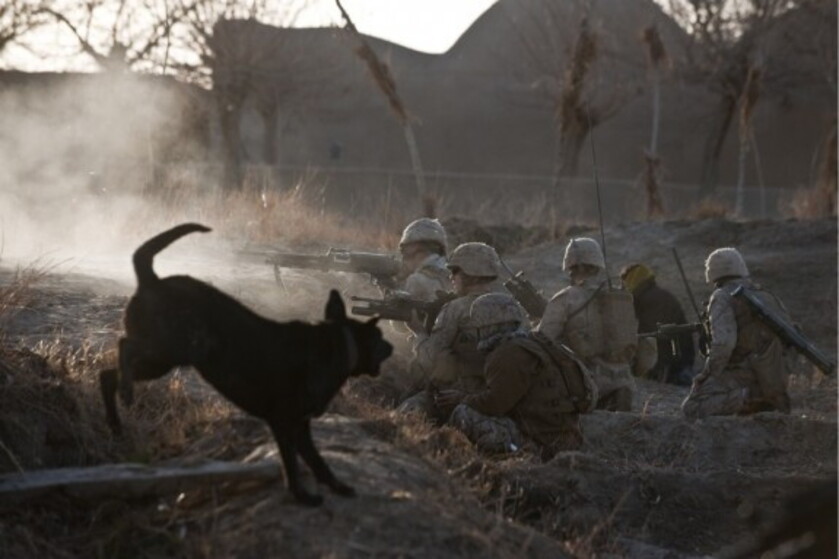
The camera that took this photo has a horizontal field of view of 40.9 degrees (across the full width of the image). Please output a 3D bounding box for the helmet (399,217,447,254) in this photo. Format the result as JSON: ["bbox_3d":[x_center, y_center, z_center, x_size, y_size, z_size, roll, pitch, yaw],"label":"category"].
[{"bbox_3d":[0.072,-0.792,18.528,0.566,0.396,0.599,2,-10,-7],"label":"helmet"}]

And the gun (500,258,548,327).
[{"bbox_3d":[1.889,0.229,20.224,0.303,1.285,0.522,-37,6,-5],"label":"gun"}]

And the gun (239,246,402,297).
[{"bbox_3d":[-1.772,-0.111,19.778,2.088,0.894,0.315,8,25,8],"label":"gun"}]

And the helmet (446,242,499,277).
[{"bbox_3d":[0.894,-0.297,17.777,0.583,0.372,0.564,4,-8,24],"label":"helmet"}]

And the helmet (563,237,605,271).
[{"bbox_3d":[2.638,-0.422,18.457,0.478,0.458,0.565,2,2,-12],"label":"helmet"}]

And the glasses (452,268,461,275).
[{"bbox_3d":[0.576,-0.137,17.788,0.089,0.121,0.033,3,1,39],"label":"glasses"}]
